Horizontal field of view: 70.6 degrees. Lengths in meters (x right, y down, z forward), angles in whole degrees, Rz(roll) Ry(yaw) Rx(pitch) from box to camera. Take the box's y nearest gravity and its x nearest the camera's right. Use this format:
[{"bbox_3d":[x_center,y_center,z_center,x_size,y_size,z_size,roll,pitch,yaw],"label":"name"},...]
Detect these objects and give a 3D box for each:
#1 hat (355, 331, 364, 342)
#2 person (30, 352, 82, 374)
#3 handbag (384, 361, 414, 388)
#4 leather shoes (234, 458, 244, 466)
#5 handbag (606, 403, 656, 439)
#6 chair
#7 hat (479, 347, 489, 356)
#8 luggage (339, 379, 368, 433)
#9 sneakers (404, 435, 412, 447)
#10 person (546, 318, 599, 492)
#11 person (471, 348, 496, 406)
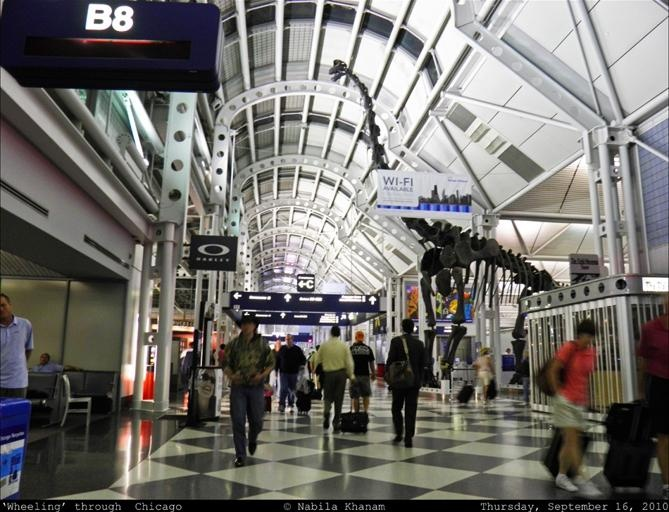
[{"bbox_3d":[0.395,1.318,7.758,0.146,0.212,0.168,8,12,1],"label":"hat"},{"bbox_3d":[-5.315,2.049,9.089,1.222,0.331,0.216,-4,-7,14],"label":"person"},{"bbox_3d":[0.830,1.506,6.046,0.319,0.307,0.159,-7,-31,22],"label":"handbag"},{"bbox_3d":[-0.974,2.094,4.831,0.106,0.078,0.134,3,-12,-11],"label":"leather shoes"},{"bbox_3d":[2.615,1.484,4.201,0.225,0.342,0.362,18,-16,4],"label":"handbag"},{"bbox_3d":[-4.563,2.427,8.284,1.181,0.839,2.210,5,-12,-20],"label":"chair"},{"bbox_3d":[3.691,2.357,11.706,0.155,0.193,0.426,-2,-12,12],"label":"hat"},{"bbox_3d":[0.375,2.336,7.020,0.526,0.516,0.260,-4,-9,28],"label":"luggage"},{"bbox_3d":[0.920,2.318,5.938,0.107,0.118,0.240,-1,-12,8],"label":"sneakers"},{"bbox_3d":[2.066,1.275,4.077,0.414,1.433,0.447,-4,-13,23],"label":"person"},{"bbox_3d":[3.847,3.066,12.197,0.481,1.432,1.725,-3,-12,17],"label":"person"}]
